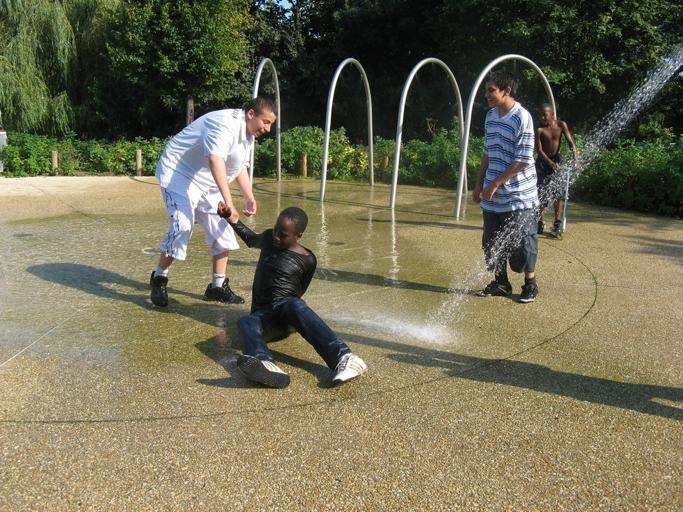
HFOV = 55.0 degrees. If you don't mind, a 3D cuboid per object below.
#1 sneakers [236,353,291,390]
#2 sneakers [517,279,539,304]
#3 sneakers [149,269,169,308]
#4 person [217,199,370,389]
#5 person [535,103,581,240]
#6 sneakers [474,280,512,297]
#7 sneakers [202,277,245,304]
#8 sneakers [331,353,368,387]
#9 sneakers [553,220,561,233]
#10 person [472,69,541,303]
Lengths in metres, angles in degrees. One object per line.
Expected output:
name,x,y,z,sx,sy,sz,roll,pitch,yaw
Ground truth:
sneakers,-0.543,0.807,4.618,0.398,0.193,0.187,28,11,3
sneakers,1.804,0.331,6.378,0.108,0.145,0.321,3,18,30
sneakers,-1.666,0.296,5.957,0.121,0.166,0.376,4,32,-34
person,-0.444,0.197,4.866,0.884,1.234,1.380,-3,9,-12
person,3.087,-1.272,9.574,0.620,1.833,0.894,8,12,19
sneakers,1.524,0.325,6.634,0.384,0.191,0.143,3,3,1
sneakers,-1.086,0.300,6.257,0.459,0.313,0.170,6,11,-9
sneakers,0.038,0.788,4.611,0.118,0.163,0.361,-9,-5,25
sneakers,3.053,-0.437,9.369,0.084,0.183,0.180,0,13,-15
person,1.593,-0.677,6.426,0.520,2.238,0.648,-12,17,-33
